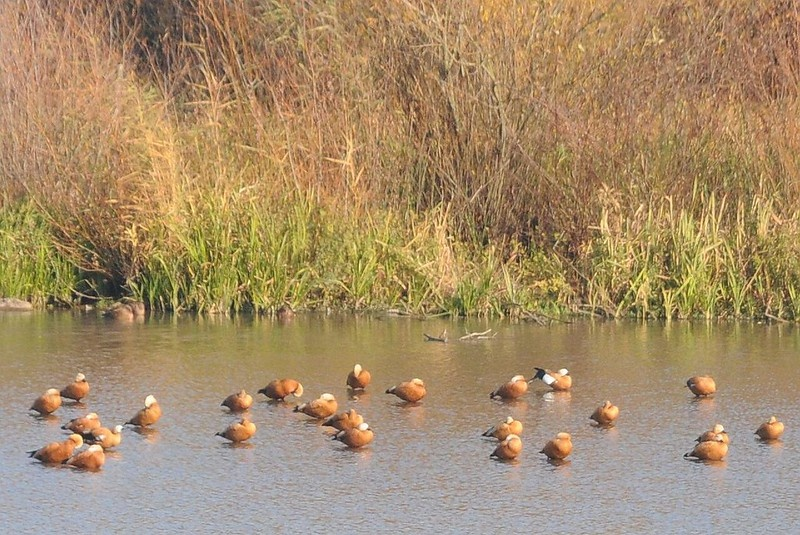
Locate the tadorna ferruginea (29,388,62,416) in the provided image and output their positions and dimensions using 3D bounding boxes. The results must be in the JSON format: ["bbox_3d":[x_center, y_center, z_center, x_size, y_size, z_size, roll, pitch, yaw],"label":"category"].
[{"bbox_3d":[-3.102,1.146,11.482,0.244,0.241,0.183,-2,17,4],"label":"tadorna ferruginea"}]

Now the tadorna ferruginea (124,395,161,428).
[{"bbox_3d":[-2.158,1.220,11.200,0.325,0.338,0.185,-6,1,9],"label":"tadorna ferruginea"}]

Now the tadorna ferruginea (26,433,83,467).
[{"bbox_3d":[-2.762,1.440,10.419,0.367,0.270,0.212,3,-6,-2],"label":"tadorna ferruginea"}]

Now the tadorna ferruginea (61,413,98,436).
[{"bbox_3d":[-2.652,1.285,10.887,0.265,0.211,0.159,5,27,7],"label":"tadorna ferruginea"}]

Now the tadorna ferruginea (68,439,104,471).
[{"bbox_3d":[-2.475,1.477,10.342,0.275,0.240,0.162,-5,3,8],"label":"tadorna ferruginea"}]

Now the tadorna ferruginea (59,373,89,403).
[{"bbox_3d":[-2.906,1.095,11.885,0.293,0.263,0.173,-11,-6,24],"label":"tadorna ferruginea"}]

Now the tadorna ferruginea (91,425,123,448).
[{"bbox_3d":[-2.412,1.343,10.772,0.241,0.205,0.145,11,14,8],"label":"tadorna ferruginea"}]
